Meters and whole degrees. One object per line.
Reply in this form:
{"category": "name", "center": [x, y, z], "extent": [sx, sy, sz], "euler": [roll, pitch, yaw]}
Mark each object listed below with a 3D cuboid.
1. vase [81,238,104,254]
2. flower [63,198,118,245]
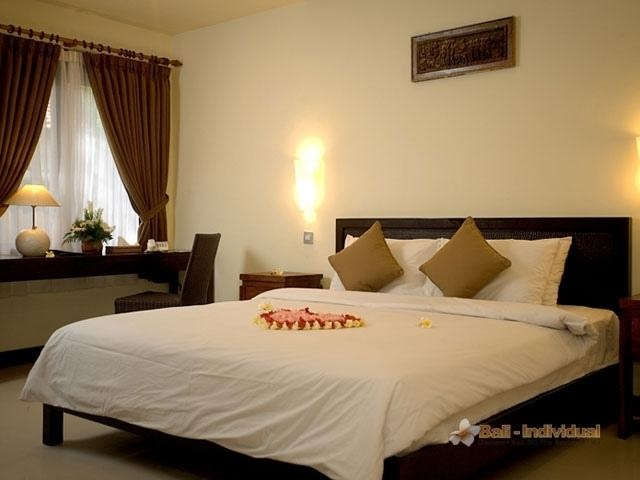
{"category": "vase", "center": [-2.306, 0.061, 4.730], "extent": [0.138, 0.118, 0.149], "euler": [2, -1, 5]}
{"category": "flower", "center": [-2.325, -0.139, 4.745], "extent": [0.416, 0.469, 0.409], "euler": [8, -6, -34]}
